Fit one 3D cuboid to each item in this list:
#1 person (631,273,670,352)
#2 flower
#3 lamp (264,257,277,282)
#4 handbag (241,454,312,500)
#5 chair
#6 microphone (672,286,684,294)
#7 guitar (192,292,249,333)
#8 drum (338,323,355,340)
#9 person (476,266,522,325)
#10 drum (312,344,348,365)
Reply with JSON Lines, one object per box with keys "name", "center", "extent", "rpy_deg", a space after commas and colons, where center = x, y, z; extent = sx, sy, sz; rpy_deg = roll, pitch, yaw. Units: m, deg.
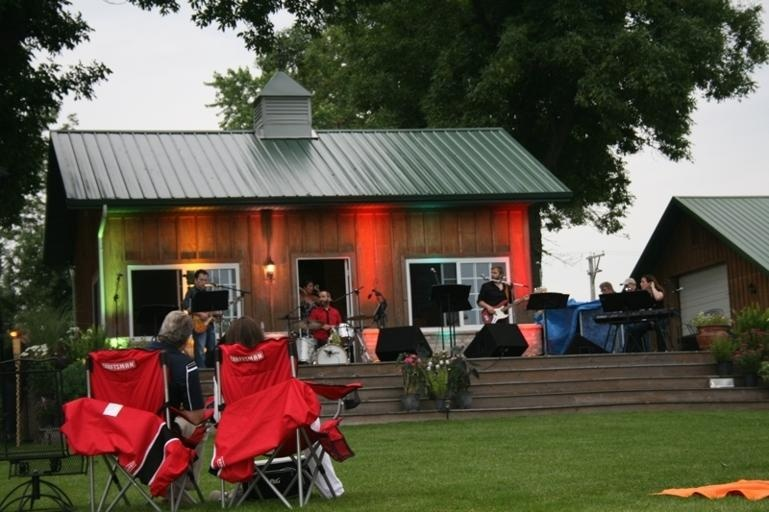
{"name": "person", "center": [6.087, 1.205, 27.163], "extent": [0.743, 1.873, 0.718], "rpy_deg": [0, 4, 12]}
{"name": "flower", "center": [1.030, 2.419, 24.236], "extent": [1.397, 1.135, 1.070], "rpy_deg": [-4, 3, 5]}
{"name": "lamp", "center": [-2.741, 0.311, 28.554], "extent": [0.289, 0.597, 0.137], "rpy_deg": [-1, -6, -7]}
{"name": "handbag", "center": [-1.789, 3.403, 18.766], "extent": [1.220, 0.767, 0.955], "rpy_deg": [12, -16, -38]}
{"name": "chair", "center": [-2.879, 2.453, 18.382], "extent": [2.431, 3.885, 2.634], "rpy_deg": [-4, -6, 28]}
{"name": "microphone", "center": [8.261, 0.957, 33.579], "extent": [0.139, 0.113, 0.583], "rpy_deg": [12, 11, 22]}
{"name": "guitar", "center": [-3.640, 1.027, 25.853], "extent": [1.319, 1.205, 0.735], "rpy_deg": [-2, 3, 13]}
{"name": "drum", "center": [-0.862, 1.685, 26.950], "extent": [0.317, 0.319, 0.320], "rpy_deg": [0, -1, -32]}
{"name": "person", "center": [2.671, 0.971, 28.059], "extent": [0.749, 1.522, 0.916], "rpy_deg": [-3, 3, 9]}
{"name": "drum", "center": [-1.199, 2.183, 26.414], "extent": [0.505, 0.532, 0.487], "rpy_deg": [-14, 0, -11]}
